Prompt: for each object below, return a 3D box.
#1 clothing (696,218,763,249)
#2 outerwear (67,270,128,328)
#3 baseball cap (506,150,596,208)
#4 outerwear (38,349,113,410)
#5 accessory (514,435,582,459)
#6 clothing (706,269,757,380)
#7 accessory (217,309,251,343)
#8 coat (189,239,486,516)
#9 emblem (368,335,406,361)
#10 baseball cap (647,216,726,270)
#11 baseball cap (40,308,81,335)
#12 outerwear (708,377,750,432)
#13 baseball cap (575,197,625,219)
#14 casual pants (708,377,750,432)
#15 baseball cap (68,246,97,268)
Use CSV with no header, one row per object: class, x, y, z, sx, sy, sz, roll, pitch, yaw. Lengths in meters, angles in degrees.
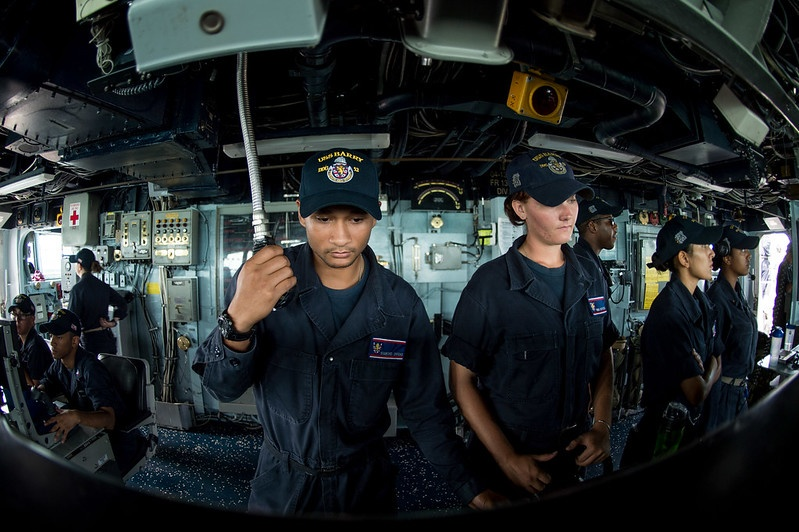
clothing,2.194,-0.193,3.582,0.332,0.118,0.206,11,12,26
outerwear,-2.260,0.255,4.016,0.195,0.426,0.638,0,3,13
baseball cap,0.842,-0.549,3.137,0.355,0.266,0.527,-22,24,-28
outerwear,-1.947,0.694,3.225,0.441,0.259,0.350,27,13,-44
accessory,0.857,1.013,2.979,0.234,0.084,0.164,-5,2,-10
clothing,2.165,0.411,3.520,0.323,0.820,0.705,-5,-1,31
accessory,-0.851,0.300,2.671,0.103,0.059,0.134,-25,21,11
coat,-0.256,0.689,2.941,1.544,1.478,0.745,6,5,-4
emblem,-0.078,0.438,2.869,0.141,0.092,0.019,2,-3,-5
baseball cap,1.877,-0.230,3.535,0.392,0.212,0.255,-24,3,41
baseball cap,-2.017,0.335,3.218,0.141,0.124,0.219,-1,-9,32
outerwear,2.056,0.844,3.399,0.124,0.203,0.151,15,7,1
baseball cap,1.499,-0.432,4.048,0.269,0.137,0.170,-16,8,20
casual pants,2.120,0.881,3.378,0.191,0.245,0.345,-8,25,41
baseball cap,-2.115,-0.060,3.580,0.156,0.090,0.109,26,26,3
